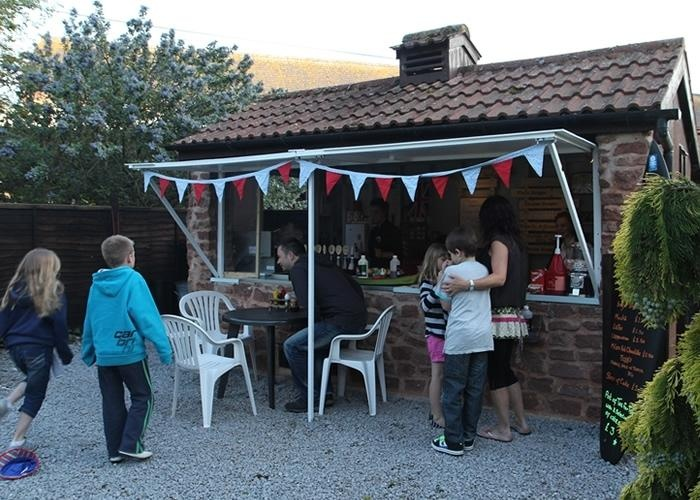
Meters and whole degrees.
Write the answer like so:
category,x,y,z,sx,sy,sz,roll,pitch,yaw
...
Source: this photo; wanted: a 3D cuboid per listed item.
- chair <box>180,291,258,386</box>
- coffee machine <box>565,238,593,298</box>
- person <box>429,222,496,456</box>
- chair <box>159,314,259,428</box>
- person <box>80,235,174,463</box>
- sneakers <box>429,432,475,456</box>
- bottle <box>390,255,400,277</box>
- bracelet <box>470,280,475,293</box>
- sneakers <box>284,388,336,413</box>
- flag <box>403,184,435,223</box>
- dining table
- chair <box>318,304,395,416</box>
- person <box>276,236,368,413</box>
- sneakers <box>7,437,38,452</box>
category,x,y,z,sx,sy,sz,roll,pitch,yaw
chair,-1.733,1.374,6.781,0.909,1.171,0.924,2,14,-15
coffee machine,2.516,0.196,6.057,0.262,0.483,0.994,2,10,17
person,1.048,0.851,5.087,0.565,2.102,0.376,-5,10,-25
chair,-1.573,1.269,6.012,0.818,1.196,0.819,2,5,43
person,-2.029,0.921,4.991,0.861,2.071,0.440,2,10,18
sneakers,0.957,1.849,5.184,0.393,0.181,0.160,5,7,35
bottle,0.590,0.196,7.187,0.122,0.240,0.377,1,10,12
bracelet,1.091,0.320,4.909,0.050,0.084,0.075,-2,15,-2
sneakers,-0.460,1.692,6.163,0.523,0.241,0.212,1,-1,-8
flag,1.280,-0.882,10.189,0.599,0.761,0.367,0,10,7
dining table,-1.040,1.196,6.439,1.103,0.878,0.906,2,2,43
chair,0.067,1.210,6.164,0.734,1.138,0.813,1,2,11
person,-0.294,0.828,6.116,0.937,1.877,0.589,-2,10,-9
sneakers,-3.041,1.816,5.081,0.188,0.202,0.189,1,-14,-1
